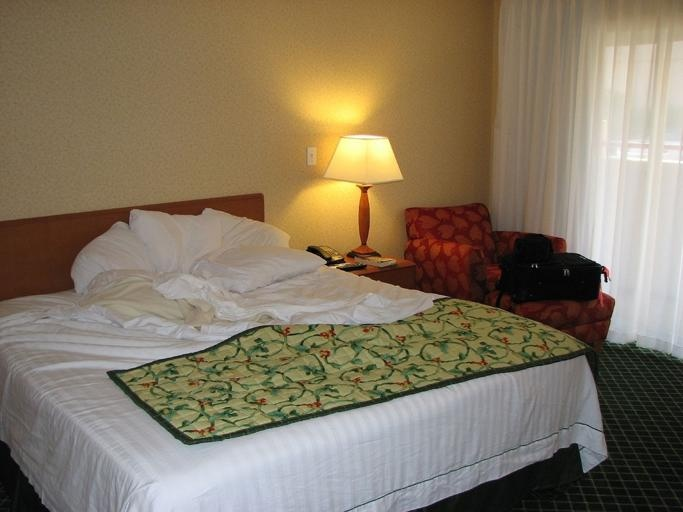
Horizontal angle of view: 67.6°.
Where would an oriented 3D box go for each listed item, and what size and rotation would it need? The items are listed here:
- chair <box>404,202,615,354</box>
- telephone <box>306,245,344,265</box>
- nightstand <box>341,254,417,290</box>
[{"bbox_3d":[1.412,0.036,4.427,1.173,1.055,1.575,-7,11,-31],"label":"chair"},{"bbox_3d":[-0.125,-0.015,4.172,0.178,0.079,0.231,-8,20,-37],"label":"telephone"},{"bbox_3d":[0.391,0.148,4.157,0.439,0.285,0.269,11,18,43],"label":"nightstand"}]
